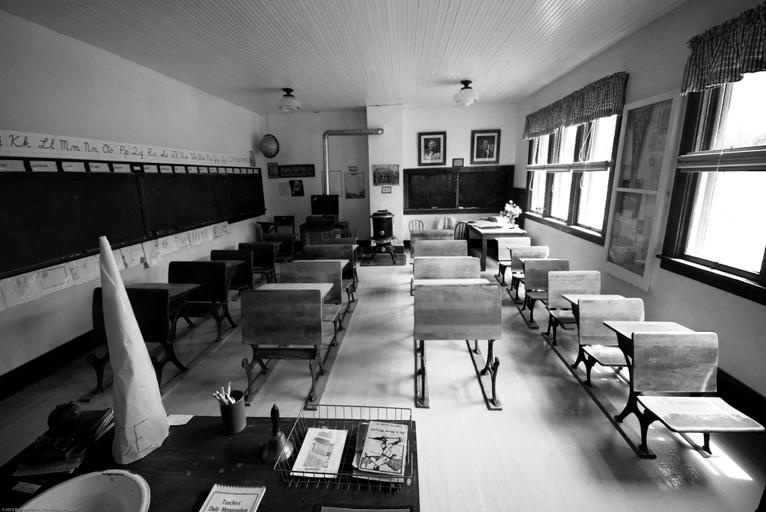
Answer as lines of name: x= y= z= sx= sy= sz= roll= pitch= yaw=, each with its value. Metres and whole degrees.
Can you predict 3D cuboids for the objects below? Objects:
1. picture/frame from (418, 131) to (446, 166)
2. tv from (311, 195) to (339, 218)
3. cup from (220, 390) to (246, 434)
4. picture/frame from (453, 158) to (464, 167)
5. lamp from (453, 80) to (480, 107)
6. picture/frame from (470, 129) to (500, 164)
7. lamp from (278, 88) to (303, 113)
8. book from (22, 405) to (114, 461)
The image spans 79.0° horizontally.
picture/frame: x=1.108 y=-2.443 z=10.384 sx=0.774 sy=0.852 sz=0.059 roll=0 pitch=12 yaw=1
tv: x=-1.277 y=-1.086 z=10.192 sx=0.533 sy=0.371 sz=0.149 roll=1 pitch=14 yaw=4
cup: x=-1.143 y=1.235 z=3.686 sx=0.210 sy=0.292 sz=0.329 roll=-1 pitch=5 yaw=-6
picture/frame: x=1.677 y=-2.103 z=10.401 sx=0.193 sy=0.162 sz=0.014 roll=0 pitch=10 yaw=-9
lamp: x=1.393 y=-2.764 z=8.025 sx=0.435 sy=0.411 sz=0.426 roll=-2 pitch=7 yaw=-9
picture/frame: x=2.264 y=-2.449 z=10.267 sx=0.759 sy=0.840 sz=0.063 roll=0 pitch=12 yaw=1
lamp: x=-1.665 y=-2.752 z=8.249 sx=0.439 sy=0.401 sz=0.432 roll=-5 pitch=19 yaw=-15
book: x=-2.413 y=1.297 z=3.517 sx=0.441 sy=0.187 sz=0.440 roll=3 pitch=11 yaw=10
